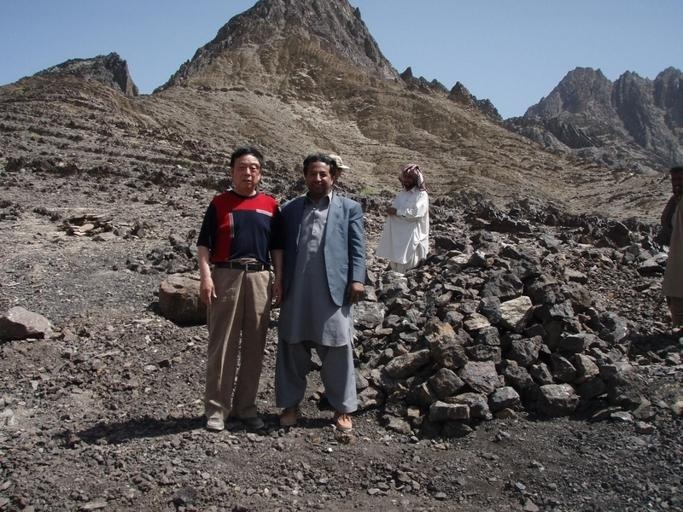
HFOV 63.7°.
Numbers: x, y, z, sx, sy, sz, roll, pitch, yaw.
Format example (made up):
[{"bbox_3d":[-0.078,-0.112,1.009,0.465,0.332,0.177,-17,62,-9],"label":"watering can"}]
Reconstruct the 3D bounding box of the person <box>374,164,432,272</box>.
[{"bbox_3d":[0.824,-0.495,7.206,0.656,1.423,0.396,4,-2,5],"label":"person"}]

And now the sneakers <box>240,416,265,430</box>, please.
[{"bbox_3d":[-0.687,1.288,4.245,0.174,0.070,0.075,-2,0,28],"label":"sneakers"}]

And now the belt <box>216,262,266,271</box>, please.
[{"bbox_3d":[-0.757,0.076,4.171,0.367,0.062,0.090,4,-2,-8],"label":"belt"}]

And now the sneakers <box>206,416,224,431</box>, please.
[{"bbox_3d":[-0.948,1.268,4.152,0.134,0.091,0.077,4,-2,-13],"label":"sneakers"}]

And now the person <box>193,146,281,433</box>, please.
[{"bbox_3d":[-0.798,0.242,4.226,0.639,1.722,0.253,5,-2,-15],"label":"person"}]

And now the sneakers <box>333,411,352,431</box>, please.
[{"bbox_3d":[0.009,1.305,4.325,0.080,0.077,0.186,3,-8,-22],"label":"sneakers"}]
